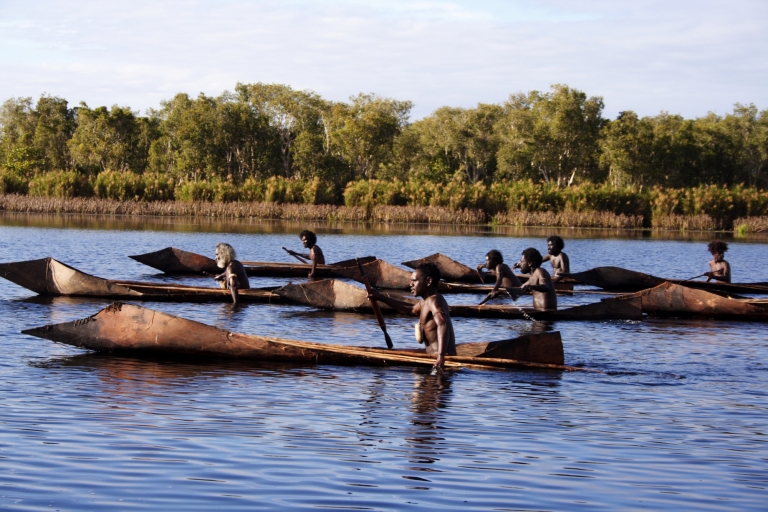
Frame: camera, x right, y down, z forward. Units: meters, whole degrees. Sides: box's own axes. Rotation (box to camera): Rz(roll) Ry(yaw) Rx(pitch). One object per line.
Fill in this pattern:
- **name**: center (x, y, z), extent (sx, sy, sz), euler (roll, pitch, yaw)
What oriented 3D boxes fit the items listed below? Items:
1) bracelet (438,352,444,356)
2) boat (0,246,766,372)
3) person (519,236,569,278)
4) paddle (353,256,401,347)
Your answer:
- **bracelet**: center (0.991, 1.642, 22.213), extent (0.126, 0.061, 0.109), euler (1, -1, -1)
- **boat**: center (-0.520, 1.032, 25.194), extent (15.765, 1.839, 6.030), euler (1, -1, 6)
- **person**: center (3.490, 0.111, 28.345), extent (0.890, 0.990, 0.801), euler (-8, 9, 18)
- **paddle**: center (-0.096, 0.977, 26.702), extent (0.202, 2.116, 0.175), euler (-21, 23, 31)
